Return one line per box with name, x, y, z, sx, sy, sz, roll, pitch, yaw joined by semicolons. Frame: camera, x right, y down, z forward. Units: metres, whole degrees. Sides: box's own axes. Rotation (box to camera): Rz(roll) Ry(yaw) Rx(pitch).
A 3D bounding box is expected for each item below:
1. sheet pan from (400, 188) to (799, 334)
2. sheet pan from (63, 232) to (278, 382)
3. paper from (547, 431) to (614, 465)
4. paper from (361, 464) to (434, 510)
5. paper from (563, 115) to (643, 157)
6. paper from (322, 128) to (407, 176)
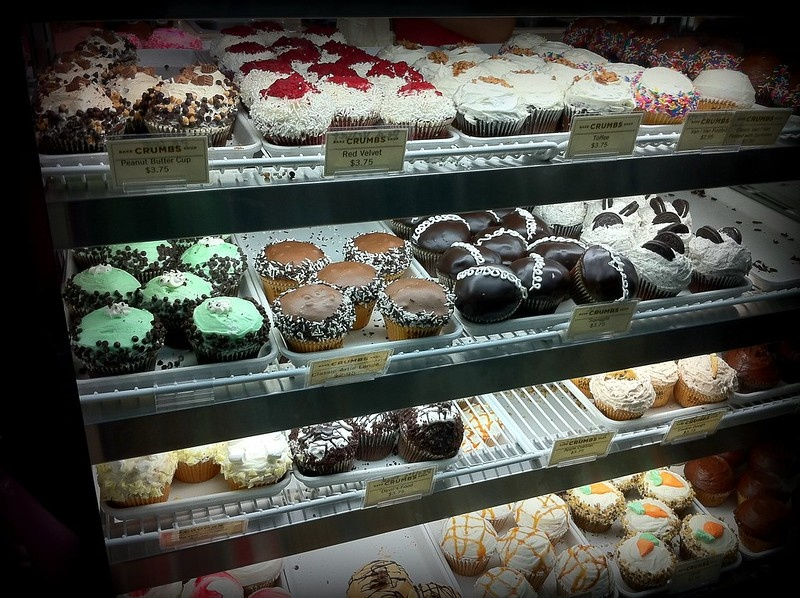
sheet pan;0.953;-0.062;2.125;1.262;0.153;0.719;-6;40;-8
sheet pan;-0.691;0.060;1.758;0.602;0.226;0.764;0;23;-5
paper;0.652;0.538;1.803;0.175;0.097;0.017;-9;40;-11
paper;-0.002;0.626;1.662;0.186;0.091;0.019;-9;33;-17
paper;0.548;-0.434;1.355;0.203;0.112;0.009;-7;33;-13
paper;-0.084;-0.339;1.172;0.149;0.078;0.014;-6;36;-15
